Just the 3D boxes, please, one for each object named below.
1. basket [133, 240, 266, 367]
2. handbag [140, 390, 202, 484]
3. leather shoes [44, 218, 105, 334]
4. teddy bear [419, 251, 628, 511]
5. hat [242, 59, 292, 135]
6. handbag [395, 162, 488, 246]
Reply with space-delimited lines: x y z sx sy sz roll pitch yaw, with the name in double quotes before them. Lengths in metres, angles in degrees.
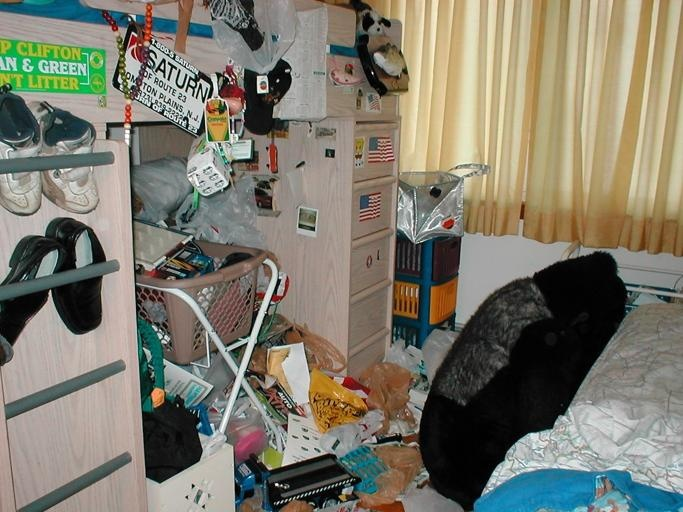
"basket" -0.497 0.176 1.887 0.364 0.379 0.527 7 15 21
"handbag" -0.539 0.559 1.554 0.189 0.068 0.135 24 30 35
"leather shoes" -0.614 0.054 1.227 0.090 0.266 0.137 5 25 17
"teddy bear" 0.600 0.407 1.704 0.446 0.795 0.549 13 17 40
"hat" -0.298 -0.630 1.975 0.085 0.286 0.232 11 17 37
"handbag" 0.552 -0.306 2.924 0.585 0.435 0.386 -1 19 -3
